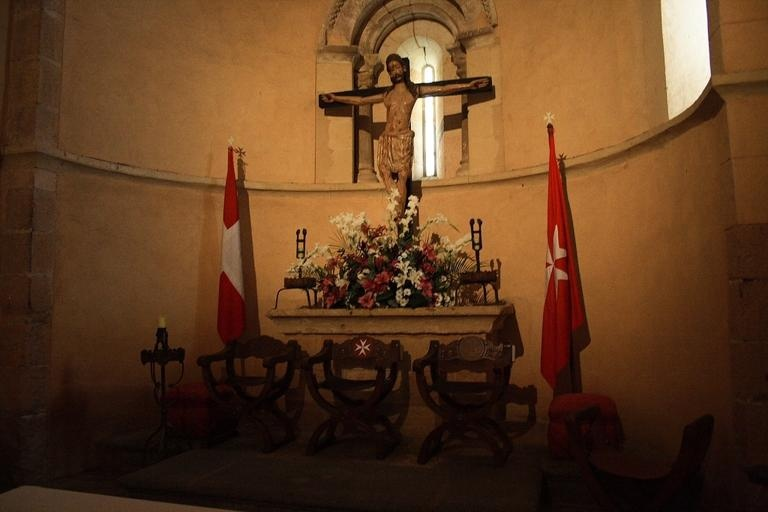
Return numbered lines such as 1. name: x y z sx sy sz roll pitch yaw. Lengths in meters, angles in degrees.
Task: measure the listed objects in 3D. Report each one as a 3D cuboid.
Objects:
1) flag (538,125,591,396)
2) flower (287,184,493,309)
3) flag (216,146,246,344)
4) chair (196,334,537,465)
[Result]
1. flag: 1.718 0.065 7.095 0.432 2.515 0.928 1 12 15
2. flower: -0.024 0.000 7.241 1.677 1.142 0.932 0 12 8
3. flag: -1.589 -0.053 7.627 0.292 1.712 0.667 -5 12 -13
4. chair: -0.176 1.186 6.728 2.607 1.015 0.798 0 12 11
